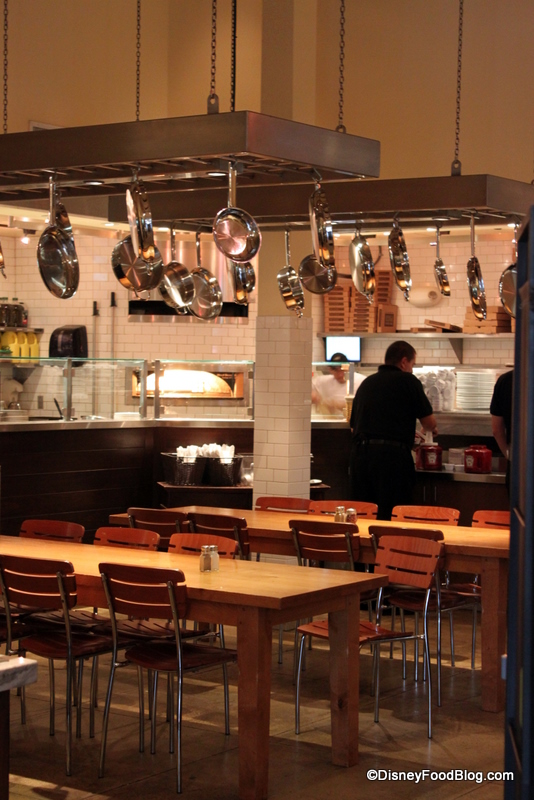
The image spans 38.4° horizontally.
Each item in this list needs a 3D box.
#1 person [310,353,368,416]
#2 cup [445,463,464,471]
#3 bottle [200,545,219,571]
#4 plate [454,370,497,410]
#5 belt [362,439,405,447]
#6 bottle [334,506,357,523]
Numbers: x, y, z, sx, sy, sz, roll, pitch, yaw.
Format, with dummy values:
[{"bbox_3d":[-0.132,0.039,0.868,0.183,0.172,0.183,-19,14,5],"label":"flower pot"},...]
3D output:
[{"bbox_3d":[0.641,-0.136,7.565,0.635,0.884,0.491,0,-1,-2],"label":"person"},{"bbox_3d":[1.522,0.549,6.293,0.149,0.065,0.082,-1,-6,12],"label":"cup"},{"bbox_3d":[-0.219,0.656,3.197,0.089,0.126,0.090,1,-4,0],"label":"bottle"},{"bbox_3d":[1.996,-0.113,7.349,0.377,0.375,0.052,3,2,5],"label":"plate"},{"bbox_3d":[0.861,0.321,5.760,0.299,0.049,0.067,-3,-6,27],"label":"belt"},{"bbox_3d":[0.453,0.670,4.500,0.124,0.089,0.088,3,2,27],"label":"bottle"}]
